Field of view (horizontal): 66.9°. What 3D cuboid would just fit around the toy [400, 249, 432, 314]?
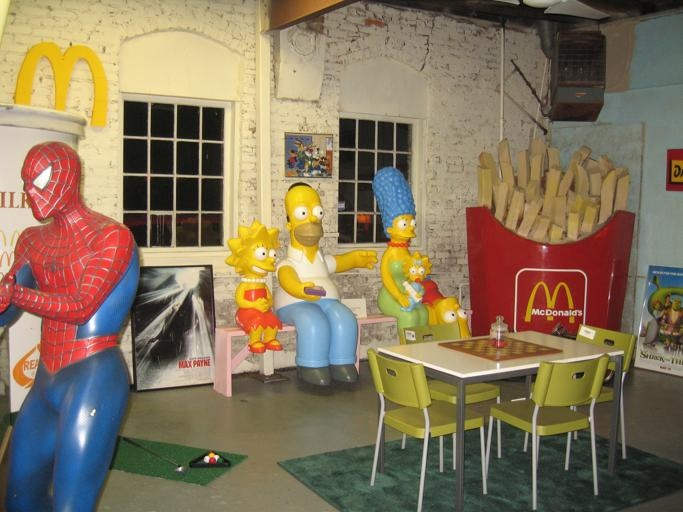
[{"bbox_3d":[0.876,0.290,5.948,0.358,0.681,0.233,-1,5,-15],"label":"toy"}]

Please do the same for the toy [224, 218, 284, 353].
[{"bbox_3d":[-0.925,0.314,5.491,0.578,1.355,0.316,0,5,-8],"label":"toy"}]
